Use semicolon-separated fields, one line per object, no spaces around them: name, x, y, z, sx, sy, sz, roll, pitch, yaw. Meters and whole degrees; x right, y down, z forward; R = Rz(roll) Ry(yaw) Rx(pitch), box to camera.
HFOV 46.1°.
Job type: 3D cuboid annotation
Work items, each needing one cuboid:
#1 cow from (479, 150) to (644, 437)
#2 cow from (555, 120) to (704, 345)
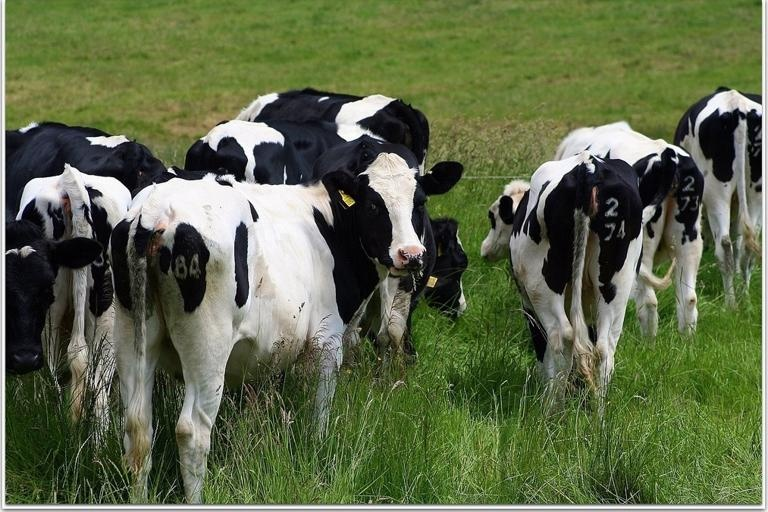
cow;1.876;0.255;8.905;1.237;2.501;0.985;1;9;18
cow;3.223;-0.508;11.930;1.104;2.365;3.829;-3;11;0
